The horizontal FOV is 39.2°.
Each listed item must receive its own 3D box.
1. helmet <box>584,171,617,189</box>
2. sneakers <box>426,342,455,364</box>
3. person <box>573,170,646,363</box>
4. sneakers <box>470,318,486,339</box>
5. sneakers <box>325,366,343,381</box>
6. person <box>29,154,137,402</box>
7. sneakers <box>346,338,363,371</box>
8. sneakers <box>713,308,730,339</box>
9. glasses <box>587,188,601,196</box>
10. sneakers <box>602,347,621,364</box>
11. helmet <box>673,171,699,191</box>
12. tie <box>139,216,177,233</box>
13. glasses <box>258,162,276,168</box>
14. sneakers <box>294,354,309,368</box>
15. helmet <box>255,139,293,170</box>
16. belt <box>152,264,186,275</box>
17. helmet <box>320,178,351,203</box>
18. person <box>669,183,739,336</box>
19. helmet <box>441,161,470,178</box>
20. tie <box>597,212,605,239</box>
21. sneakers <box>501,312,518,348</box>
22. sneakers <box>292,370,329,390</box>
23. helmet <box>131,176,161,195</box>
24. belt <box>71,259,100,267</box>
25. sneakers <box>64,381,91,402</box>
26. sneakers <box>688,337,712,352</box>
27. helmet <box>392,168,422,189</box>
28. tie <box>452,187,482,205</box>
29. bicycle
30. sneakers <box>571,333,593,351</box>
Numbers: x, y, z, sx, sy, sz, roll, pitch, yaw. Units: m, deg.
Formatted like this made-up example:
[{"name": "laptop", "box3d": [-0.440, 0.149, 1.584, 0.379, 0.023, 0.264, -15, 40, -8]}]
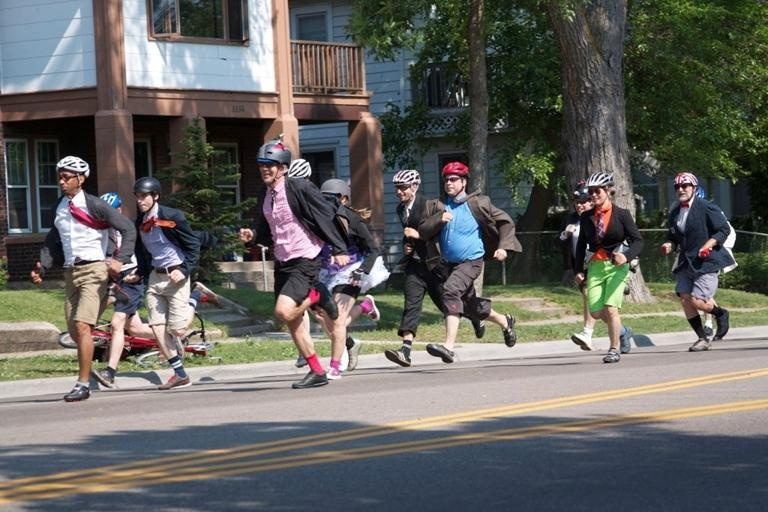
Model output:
[{"name": "helmet", "box3d": [3.447, -1.187, 16.767, 0.598, 0.242, 0.428, -5, 10, -42]}, {"name": "sneakers", "box3d": [0.870, 1.423, 16.048, 0.475, 0.200, 0.205, 32, -41, -17]}, {"name": "person", "box3d": [3.515, 0.184, 16.851, 1.053, 2.967, 0.672, -1, 5, 18]}, {"name": "sneakers", "box3d": [1.505, 1.158, 17.015, 0.203, 0.452, 0.153, -4, 43, 12]}, {"name": "sneakers", "box3d": [-0.701, 1.679, 15.547, 0.134, 0.176, 0.260, -6, -11, 38]}, {"name": "person", "box3d": [-4.190, 0.310, 15.167, 1.390, 3.409, 0.725, -3, 5, -6]}, {"name": "sneakers", "box3d": [-0.462, 1.490, 16.672, 0.185, 0.554, 0.239, 6, 11, 28]}, {"name": "sneakers", "box3d": [6.119, 1.218, 19.466, 0.213, 0.625, 0.289, 4, -3, 45]}, {"name": "glasses", "box3d": [3.275, -1.004, 16.678, 0.144, 0.151, 0.046, -12, -2, 22]}, {"name": "sneakers", "box3d": [3.576, 1.547, 16.900, 0.250, 0.226, 0.385, -2, 5, 11]}, {"name": "helmet", "box3d": [5.103, -1.301, 17.986, 0.485, 0.249, 0.340, 6, -8, -27]}, {"name": "tie", "box3d": [-3.255, -0.461, 15.500, 0.521, 0.206, 0.096, -2, 5, 5]}, {"name": "glasses", "box3d": [-1.569, -1.249, 14.656, 0.253, 0.074, 0.119, -3, 5, 3]}, {"name": "sneakers", "box3d": [-1.296, 1.664, 16.838, 0.192, 0.274, 0.561, -2, 5, -5]}, {"name": "helmet", "box3d": [-1.481, -1.399, 14.769, 0.328, 0.296, 0.439, 7, -3, 38]}, {"name": "belt", "box3d": [-3.080, 0.182, 15.572, 0.456, 0.132, 0.126, -1, 5, 15]}, {"name": "helmet", "box3d": [-0.704, -1.041, 16.166, 0.493, 0.242, 0.343, 20, -14, -41]}, {"name": "person", "box3d": [5.314, 0.079, 18.056, 1.004, 2.962, 0.682, -2, 5, 14]}, {"name": "helmet", "box3d": [1.127, -1.303, 16.340, 0.371, 0.220, 0.526, 2, -1, 12]}, {"name": "tie", "box3d": [3.395, -0.482, 16.756, 0.132, 0.382, 0.081, -1, 5, 17]}, {"name": "sneakers", "box3d": [1.984, 1.257, 17.439, 0.215, 0.640, 0.278, 6, 14, 42]}, {"name": "sneakers", "box3d": [-1.008, 1.752, 15.183, 0.545, 0.227, 0.213, 1, -2, -16]}, {"name": "helmet", "box3d": [-3.430, -1.015, 15.591, 0.334, 0.256, 0.252, 7, -2, -24]}, {"name": "belt", "box3d": [-4.207, 0.075, 15.168, 0.321, 0.098, 0.057, -4, 5, -15]}, {"name": "sneakers", "box3d": [-4.320, 1.897, 15.129, 0.334, 0.274, 0.196, -4, 5, -17]}, {"name": "sneakers", "box3d": [5.379, 1.489, 18.242, 0.479, 0.200, 0.171, -7, 2, -21]}, {"name": "helmet", "box3d": [0.353, -1.205, 16.204, 0.507, 0.262, 0.368, -1, 0, -3]}, {"name": "tie", "box3d": [1.256, -0.904, 16.420, 0.335, 0.132, 0.253, -10, -1, -38]}, {"name": "bicycle", "box3d": [-4.231, 1.112, 17.950, 1.355, 1.068, 2.164, 9, -7, -39]}, {"name": "sneakers", "box3d": [3.279, 1.362, 17.512, 0.444, 0.205, 0.206, 40, -31, -30]}]
